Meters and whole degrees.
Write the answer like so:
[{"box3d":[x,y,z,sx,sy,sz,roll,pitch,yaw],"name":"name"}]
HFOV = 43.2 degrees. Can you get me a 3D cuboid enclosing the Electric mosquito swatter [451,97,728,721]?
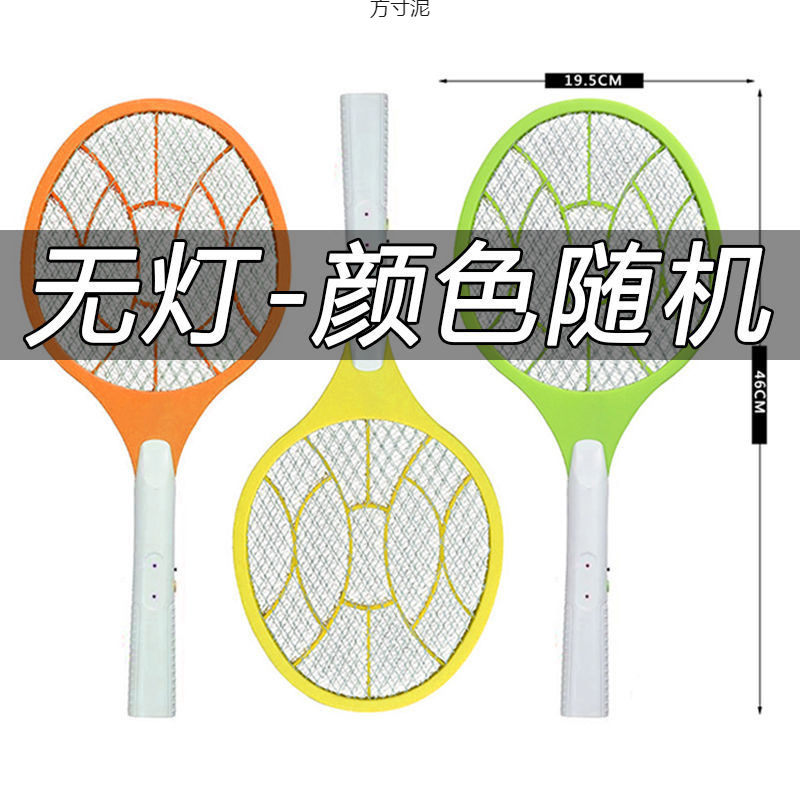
[{"box3d":[0.410,0.024,2.207,0.501,1.593,0.082,6,51,15],"name":"Electric mosquito swatter"}]
